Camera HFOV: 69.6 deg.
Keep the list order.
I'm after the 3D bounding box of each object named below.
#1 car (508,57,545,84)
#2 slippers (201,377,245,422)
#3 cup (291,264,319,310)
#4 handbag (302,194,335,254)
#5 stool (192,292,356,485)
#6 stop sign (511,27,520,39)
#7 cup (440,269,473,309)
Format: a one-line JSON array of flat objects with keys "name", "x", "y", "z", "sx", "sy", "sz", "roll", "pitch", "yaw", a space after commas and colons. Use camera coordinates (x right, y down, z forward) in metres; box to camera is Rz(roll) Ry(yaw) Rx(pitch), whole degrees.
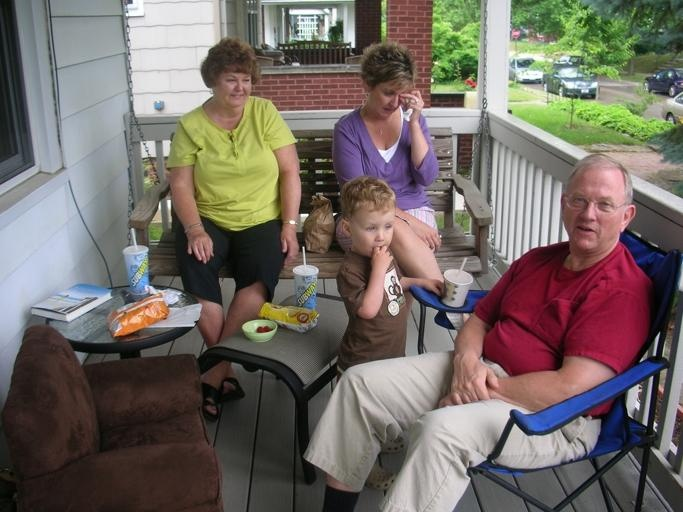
[{"name": "car", "x": 7.902, "y": -7.980, "z": 20.916, "sx": 1.555, "sy": 1.150, "sz": 1.053, "roll": 14, "pitch": 23, "yaw": 34}, {"name": "slippers", "x": -0.591, "y": 0.717, "z": 2.483, "sx": 0.112, "sy": 0.089, "sz": 0.311, "roll": 5, "pitch": 2, "yaw": 12}, {"name": "cup", "x": -0.174, "y": 0.142, "z": 2.487, "sx": 0.174, "sy": 0.278, "sz": 0.184, "roll": 0, "pitch": 17, "yaw": 0}, {"name": "handbag", "x": -0.137, "y": -0.197, "z": 3.005, "sx": 0.161, "sy": 0.349, "sz": 0.284, "roll": 2, "pitch": 7, "yaw": -15}, {"name": "stool", "x": -0.434, "y": 0.707, "z": 2.278, "sx": 0.664, "sy": 0.457, "sz": 0.884, "roll": 10, "pitch": -15, "yaw": -7}, {"name": "stop sign", "x": 7.416, "y": -9.499, "z": 20.915, "sx": 0.237, "sy": 0.428, "sz": 0.703, "roll": 12, "pitch": 22, "yaw": 32}, {"name": "cup", "x": 0.487, "y": 0.150, "z": 2.098, "sx": 0.142, "sy": 0.126, "sz": 0.130, "roll": 10, "pitch": 17, "yaw": -3}]
